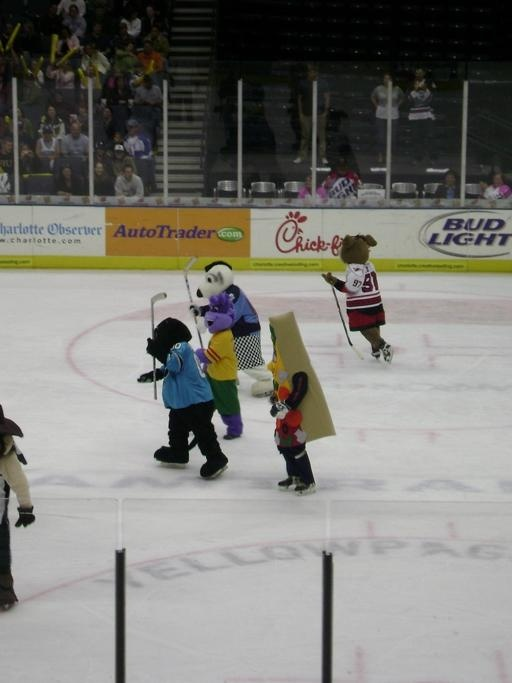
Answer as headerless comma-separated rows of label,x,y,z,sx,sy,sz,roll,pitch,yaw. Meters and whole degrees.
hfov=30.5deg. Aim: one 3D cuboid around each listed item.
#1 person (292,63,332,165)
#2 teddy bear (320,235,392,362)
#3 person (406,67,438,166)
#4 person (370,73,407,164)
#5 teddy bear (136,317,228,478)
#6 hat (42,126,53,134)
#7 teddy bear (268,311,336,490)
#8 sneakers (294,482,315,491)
person,0.980,-3.937,16.364,0.668,1.704,0.213,-3,12,3
teddy bear,1.043,-0.422,9.480,0.633,1.298,0.813,-2,12,7
person,2.897,-3.891,16.272,0.446,1.636,0.158,-2,12,7
person,2.314,-3.863,16.338,0.536,1.545,0.193,-8,13,-21
teddy bear,-0.442,0.354,5.955,0.385,0.989,0.608,-10,13,-29
hat,-3.621,-3.676,16.374,0.163,0.127,0.149,2,2,-20
teddy bear,0.268,0.361,5.386,0.346,1.072,0.244,-3,12,2
sneakers,0.285,0.844,5.484,0.123,0.044,0.040,-5,12,-8
